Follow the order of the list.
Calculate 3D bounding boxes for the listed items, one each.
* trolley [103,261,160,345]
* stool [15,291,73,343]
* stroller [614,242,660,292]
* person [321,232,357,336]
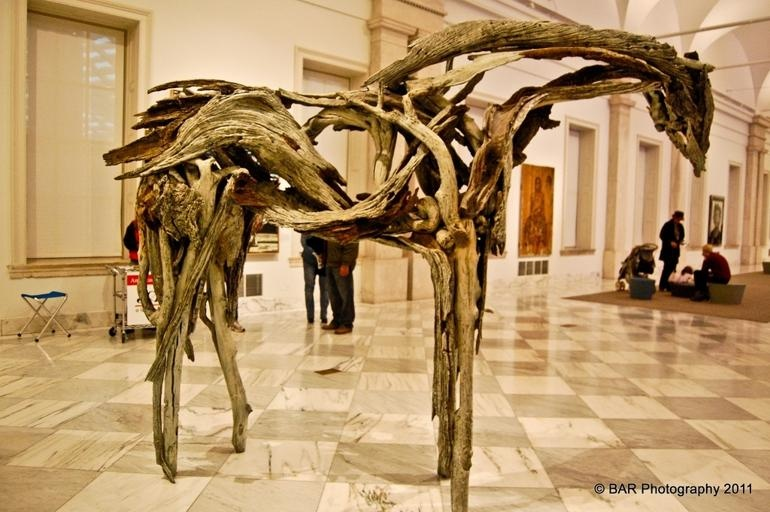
[{"bbox_3d":[-3.448,0.625,8.037,0.736,0.951,0.729,-2,3,-41],"label":"trolley"},{"bbox_3d":[-4.779,0.839,8.062,0.562,0.632,0.504,-3,0,-32],"label":"stool"},{"bbox_3d":[5.793,0.228,13.292,0.938,1.107,0.872,5,3,29],"label":"stroller"},{"bbox_3d":[-0.638,0.431,8.404,0.454,1.379,0.559,0,15,-6],"label":"person"}]
